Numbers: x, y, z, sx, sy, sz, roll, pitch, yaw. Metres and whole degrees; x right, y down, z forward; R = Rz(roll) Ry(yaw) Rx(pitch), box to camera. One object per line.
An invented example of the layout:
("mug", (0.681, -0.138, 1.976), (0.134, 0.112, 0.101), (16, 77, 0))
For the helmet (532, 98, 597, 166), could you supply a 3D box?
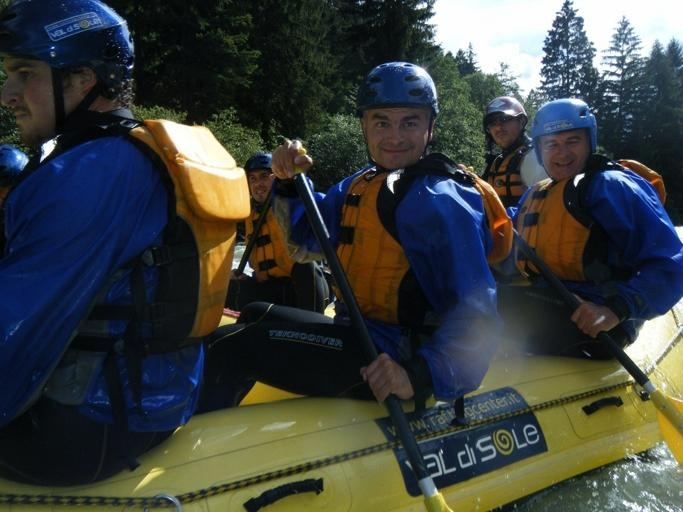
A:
("helmet", (1.645, -0.854, 4.668), (0.348, 0.483, 0.449), (-7, 1, 26))
